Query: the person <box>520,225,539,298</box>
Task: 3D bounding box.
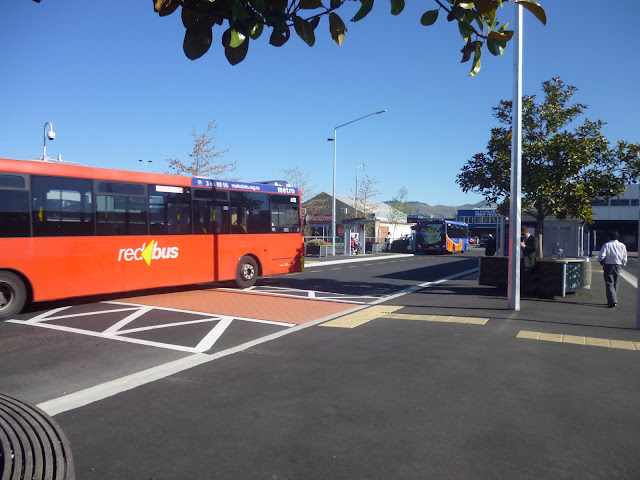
[{"bbox_3d":[6.061,0.606,14.113,0.436,1.916,0.530,1,3,26],"label":"person"}]
